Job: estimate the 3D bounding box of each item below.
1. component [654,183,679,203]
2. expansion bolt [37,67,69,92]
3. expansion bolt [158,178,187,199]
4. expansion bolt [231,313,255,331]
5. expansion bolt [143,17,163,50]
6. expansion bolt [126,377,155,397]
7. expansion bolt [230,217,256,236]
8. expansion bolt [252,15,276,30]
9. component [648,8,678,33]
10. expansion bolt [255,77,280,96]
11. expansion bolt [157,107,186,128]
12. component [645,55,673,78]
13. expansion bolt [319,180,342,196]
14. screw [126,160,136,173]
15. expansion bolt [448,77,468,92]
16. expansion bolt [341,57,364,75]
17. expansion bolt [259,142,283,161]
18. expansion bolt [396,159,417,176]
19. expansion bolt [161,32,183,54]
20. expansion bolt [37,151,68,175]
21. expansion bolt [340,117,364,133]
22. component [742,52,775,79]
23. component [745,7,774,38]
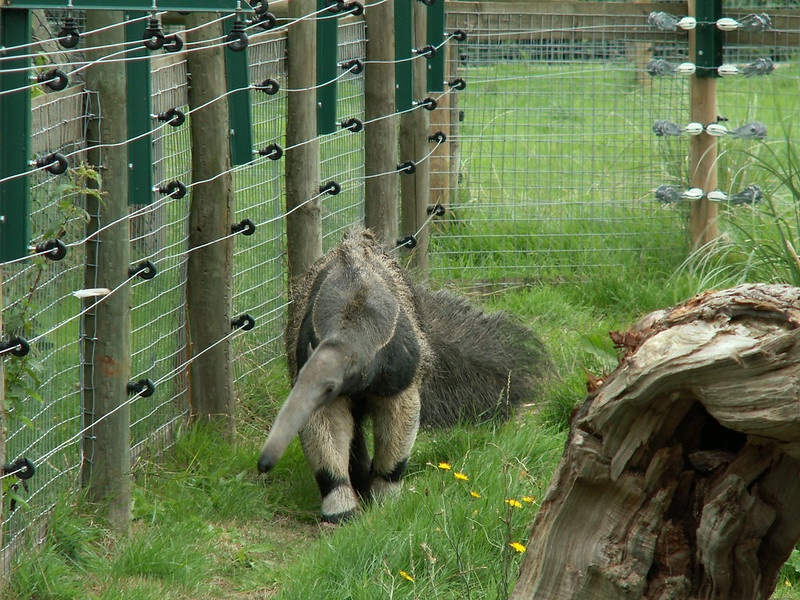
[{"bbox_3d":[2.050,-0.822,9.946,0.145,0.088,0.118,0,2,-18],"label":"component"},{"bbox_3d":[-1.484,-0.946,5.625,0.111,0.106,0.051,-3,30,12],"label":"expansion bolt"},{"bbox_3d":[-1.186,-0.600,6.854,0.103,0.135,0.044,1,42,-3],"label":"expansion bolt"},{"bbox_3d":[-0.905,0.117,7.600,0.102,0.114,0.045,-7,24,9],"label":"expansion bolt"},{"bbox_3d":[-1.131,-1.223,6.035,0.096,0.175,0.240,-2,21,-12],"label":"expansion bolt"},{"bbox_3d":[-1.312,0.442,6.609,0.135,0.099,0.129,-5,21,-20],"label":"expansion bolt"},{"bbox_3d":[-0.888,-0.414,7.433,0.087,0.040,0.090,-4,24,-2],"label":"expansion bolt"},{"bbox_3d":[-0.696,-1.425,6.697,0.081,0.058,0.113,-4,10,-20],"label":"expansion bolt"},{"bbox_3d":[2.041,-2.128,10.026,0.189,0.098,0.151,3,7,-27],"label":"component"},{"bbox_3d":[-0.735,-1.206,7.255,0.130,0.044,0.127,6,-15,-44],"label":"expansion bolt"},{"bbox_3d":[-1.177,-0.935,6.721,0.128,0.057,0.087,2,-5,-10],"label":"expansion bolt"},{"bbox_3d":[1.989,-1.769,9.910,0.138,0.106,0.130,3,0,-5],"label":"component"},{"bbox_3d":[-0.425,-0.692,8.067,0.103,0.040,0.077,-9,15,-29],"label":"expansion bolt"},{"bbox_3d":[-1.324,-0.656,6.435,0.024,0.051,0.077,3,20,4],"label":"screw"},{"bbox_3d":[0.430,-1.658,9.913,0.105,0.053,0.111,-7,-15,9],"label":"expansion bolt"},{"bbox_3d":[-0.292,-1.471,8.225,0.094,0.050,0.105,1,0,-21],"label":"expansion bolt"},{"bbox_3d":[-0.741,-0.851,7.511,0.130,0.115,0.147,-3,20,-14],"label":"expansion bolt"},{"bbox_3d":[0.040,-0.959,9.545,0.109,0.082,0.096,-9,-7,22],"label":"expansion bolt"},{"bbox_3d":[-1.062,-1.198,6.131,0.087,0.111,0.268,-1,22,-10],"label":"expansion bolt"},{"bbox_3d":[-1.514,-0.607,5.700,0.101,0.054,0.096,2,37,4],"label":"expansion bolt"},{"bbox_3d":[-0.309,-1.141,8.408,0.102,0.044,0.111,-12,-22,35],"label":"expansion bolt"},{"bbox_3d":[2.643,-1.729,9.688,0.220,0.130,0.236,32,16,14],"label":"component"},{"bbox_3d":[2.644,-2.045,9.643,0.166,0.110,0.150,3,7,-1],"label":"component"}]
